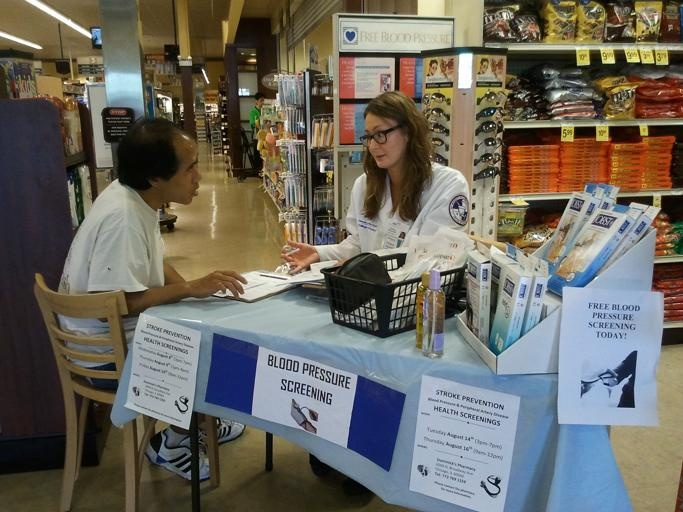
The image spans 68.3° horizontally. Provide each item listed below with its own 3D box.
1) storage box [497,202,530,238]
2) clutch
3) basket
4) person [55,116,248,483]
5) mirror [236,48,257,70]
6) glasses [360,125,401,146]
[{"bbox_3d":[1.298,-0.274,3.915,0.266,0.262,0.234,1,3,5],"label":"storage box"},{"bbox_3d":[0.046,0.106,1.818,0.150,0.238,0.227,2,3,42],"label":"clutch"},{"bbox_3d":[0.209,0.096,1.893,0.311,0.175,0.413,5,6,43],"label":"basket"},{"bbox_3d":[-0.928,0.244,2.559,0.866,1.729,0.729,-3,12,-21],"label":"person"},{"bbox_3d":[-3.155,-6.493,16.689,0.920,0.931,0.236,-3,-19,3],"label":"mirror"},{"bbox_3d":[0.208,-0.586,2.537,0.120,0.038,0.122,-10,-3,-42],"label":"glasses"}]
